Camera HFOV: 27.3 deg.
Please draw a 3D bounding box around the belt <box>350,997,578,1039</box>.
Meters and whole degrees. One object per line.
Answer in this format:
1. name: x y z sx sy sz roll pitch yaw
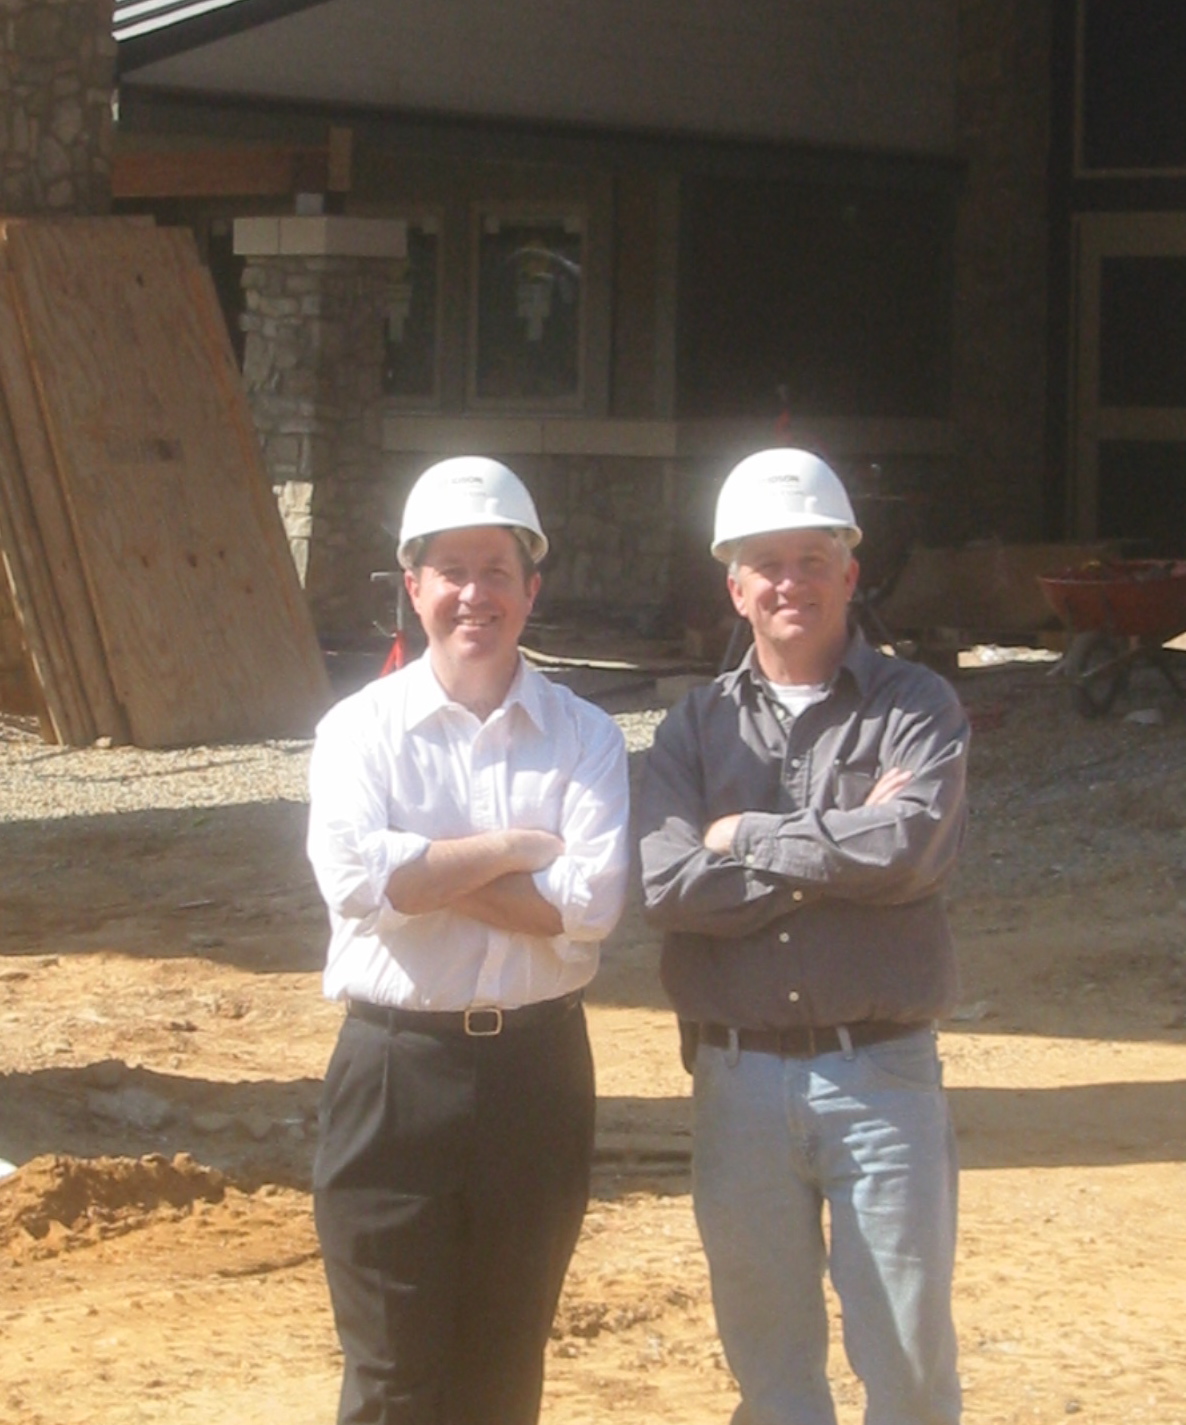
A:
1. belt: -0.244 0.598 4.747 0.451 0.064 0.121 1 9 -6
